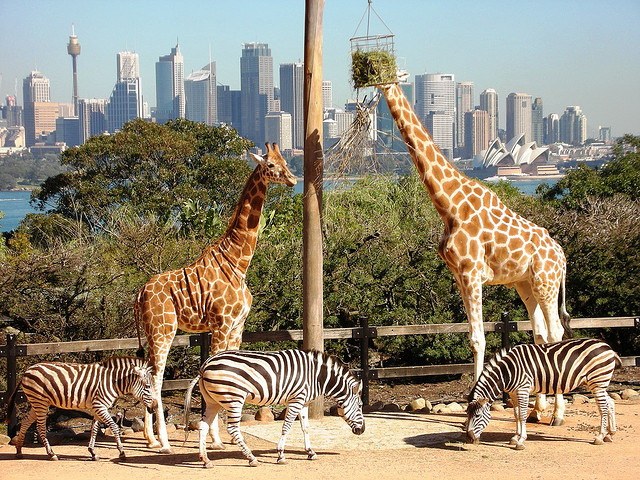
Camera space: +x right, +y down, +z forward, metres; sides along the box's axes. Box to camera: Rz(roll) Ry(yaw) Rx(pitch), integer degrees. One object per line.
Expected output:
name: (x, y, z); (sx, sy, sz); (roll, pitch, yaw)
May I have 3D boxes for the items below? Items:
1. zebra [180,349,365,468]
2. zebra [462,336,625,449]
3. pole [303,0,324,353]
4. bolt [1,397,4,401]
zebra: (-0.733, 3.124, 25.252); (3.253, 2.675, 0.937); (2, 12, -11)
zebra: (4.061, 2.558, 25.433); (2.115, 2.351, 2.263); (-1, 1, -43)
pole: (-0.136, -1.254, 26.644); (0.385, 6.778, 0.246); (0, 2, -1)
bolt: (-6.121, 3.072, 26.310); (0.052, 0.063, 0.019); (0, 2, -1)
